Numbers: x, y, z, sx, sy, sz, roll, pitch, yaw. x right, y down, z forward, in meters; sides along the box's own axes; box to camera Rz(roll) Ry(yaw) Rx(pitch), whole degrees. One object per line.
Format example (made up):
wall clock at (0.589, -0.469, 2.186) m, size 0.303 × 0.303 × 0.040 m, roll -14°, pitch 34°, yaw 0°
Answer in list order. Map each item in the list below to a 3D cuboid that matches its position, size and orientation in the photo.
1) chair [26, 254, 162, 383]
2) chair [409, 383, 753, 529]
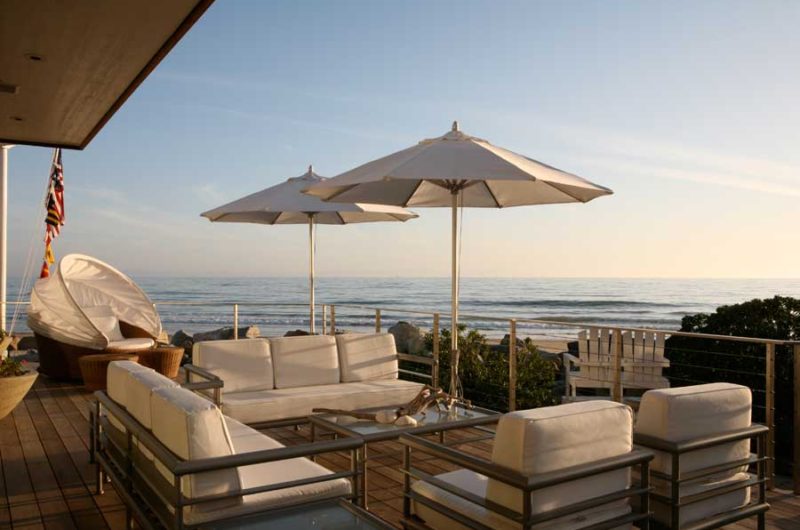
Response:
chair at (-5.027, 0.827, 9.792) m, size 2.353 × 1.893 × 1.904 m, roll 2°, pitch -2°, yaw 29°
chair at (1.337, 1.294, 4.037) m, size 2.127 × 0.939 × 0.672 m, roll 2°, pitch 0°, yaw -23°
